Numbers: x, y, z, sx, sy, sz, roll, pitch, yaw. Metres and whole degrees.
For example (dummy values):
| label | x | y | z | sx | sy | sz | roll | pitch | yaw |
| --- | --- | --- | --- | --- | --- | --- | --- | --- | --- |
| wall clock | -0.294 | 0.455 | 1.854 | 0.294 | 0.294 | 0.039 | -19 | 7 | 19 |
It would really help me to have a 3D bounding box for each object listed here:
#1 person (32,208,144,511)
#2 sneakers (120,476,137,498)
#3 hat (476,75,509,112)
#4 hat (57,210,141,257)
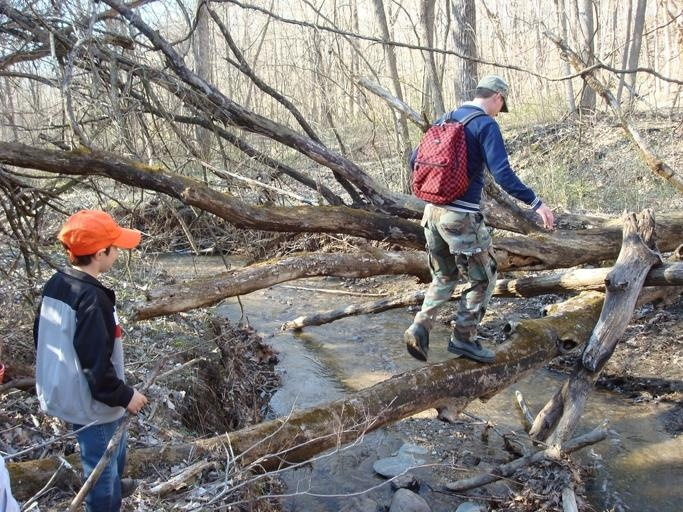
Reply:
| label | x | y | z | sx | sy | sz | roll | pitch | yaw |
| --- | --- | --- | --- | --- | --- | --- | --- | --- | --- |
| person | -1.854 | 0.676 | 3.983 | 0.743 | 1.964 | 0.720 | -9 | 13 | -29 |
| sneakers | -1.709 | 1.841 | 4.397 | 0.114 | 0.130 | 0.125 | -34 | 70 | -31 |
| hat | 1.591 | -1.688 | 5.551 | 0.431 | 0.229 | 0.294 | 13 | 9 | -40 |
| hat | -1.844 | -0.176 | 4.142 | 0.517 | 0.291 | 0.319 | -17 | 28 | -37 |
